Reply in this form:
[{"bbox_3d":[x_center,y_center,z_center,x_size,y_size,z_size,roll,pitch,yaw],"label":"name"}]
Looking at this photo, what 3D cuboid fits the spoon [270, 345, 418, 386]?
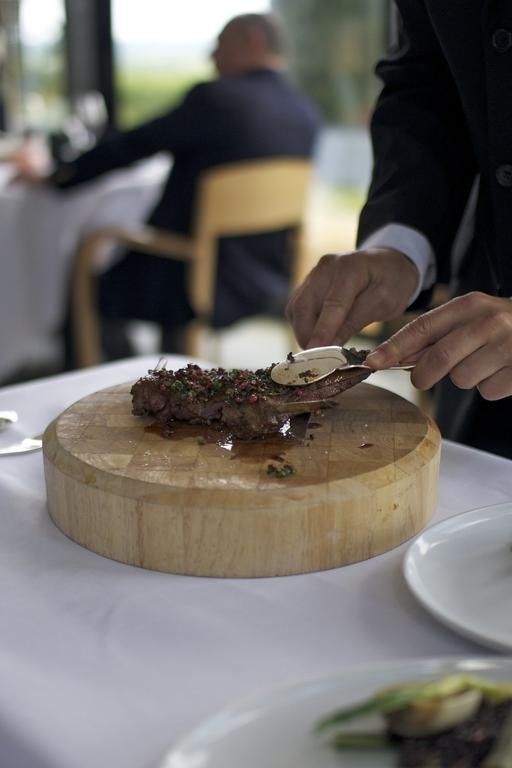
[{"bbox_3d":[0.133,-0.020,1.290,0.253,0.031,0.075,-3,45,42],"label":"spoon"}]
